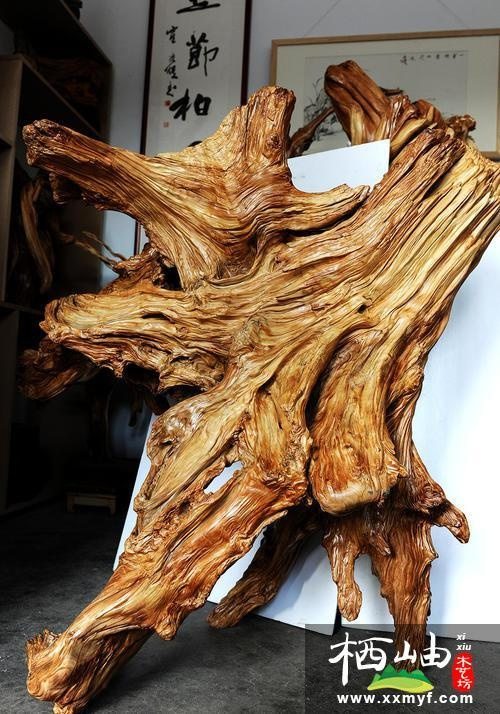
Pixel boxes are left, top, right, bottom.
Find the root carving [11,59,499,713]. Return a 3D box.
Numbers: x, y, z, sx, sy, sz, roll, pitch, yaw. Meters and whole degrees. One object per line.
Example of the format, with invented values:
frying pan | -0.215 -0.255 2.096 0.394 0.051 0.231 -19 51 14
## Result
root carving | 0.016 -0.009 1.062 0.820 1.011 0.469 2 -1 -13
